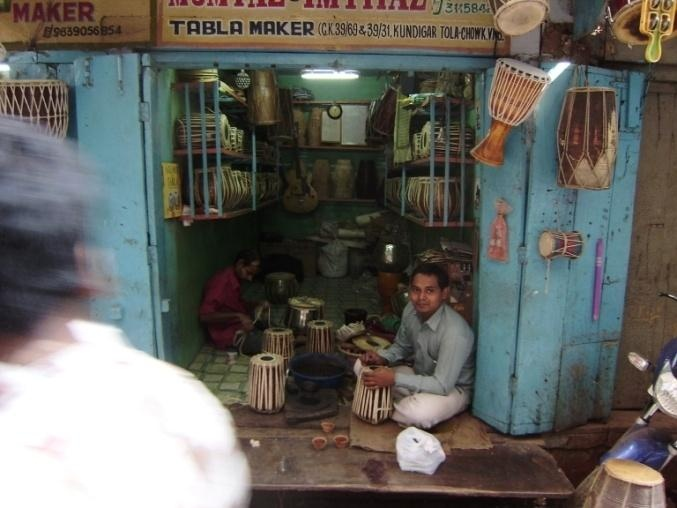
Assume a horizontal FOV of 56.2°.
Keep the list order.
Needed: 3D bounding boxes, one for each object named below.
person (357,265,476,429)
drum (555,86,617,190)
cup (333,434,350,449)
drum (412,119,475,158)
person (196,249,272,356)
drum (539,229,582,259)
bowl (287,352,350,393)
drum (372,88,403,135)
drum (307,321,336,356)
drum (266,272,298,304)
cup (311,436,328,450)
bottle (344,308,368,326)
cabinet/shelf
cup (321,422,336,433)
[{"bbox_3d":[0.581,0.547,4.843,1.023,1.274,1.092,-1,8,-15],"label":"person"},{"bbox_3d":[1.533,-0.731,3.959,0.345,0.637,0.153,4,7,28],"label":"drum"},{"bbox_3d":[0.016,1.206,4.122,0.103,0.059,0.132,0,6,-9],"label":"cup"},{"bbox_3d":[0.842,-0.898,5.050,0.419,0.170,0.330,1,5,-3],"label":"drum"},{"bbox_3d":[-0.877,0.440,5.906,0.718,0.884,0.690,4,11,-3],"label":"person"},{"bbox_3d":[1.432,-0.051,4.168,0.282,0.209,0.204,1,-9,-7],"label":"drum"},{"bbox_3d":[-0.110,0.883,4.743,0.498,0.210,0.404,-2,7,-26],"label":"bowl"},{"bbox_3d":[0.492,-1.477,6.613,0.141,0.305,0.383,14,-12,-3],"label":"drum"},{"bbox_3d":[-0.139,0.704,5.304,0.242,0.222,0.236,1,0,-1],"label":"drum"},{"bbox_3d":[-0.672,0.387,7.469,0.344,0.291,0.346,1,6,5],"label":"drum"},{"bbox_3d":[-0.123,1.213,4.111,0.107,0.057,0.144,1,6,-3],"label":"cup"},{"bbox_3d":[0.156,0.586,5.930,0.158,0.118,0.152,-1,0,0],"label":"bottle"},{"bbox_3d":[-0.170,-1.124,6.711,2.324,1.025,3.159,0,3,2],"label":"cabinet/shelf"},{"bbox_3d":[-0.071,1.157,4.284,0.103,0.057,0.166,1,6,-2],"label":"cup"}]
